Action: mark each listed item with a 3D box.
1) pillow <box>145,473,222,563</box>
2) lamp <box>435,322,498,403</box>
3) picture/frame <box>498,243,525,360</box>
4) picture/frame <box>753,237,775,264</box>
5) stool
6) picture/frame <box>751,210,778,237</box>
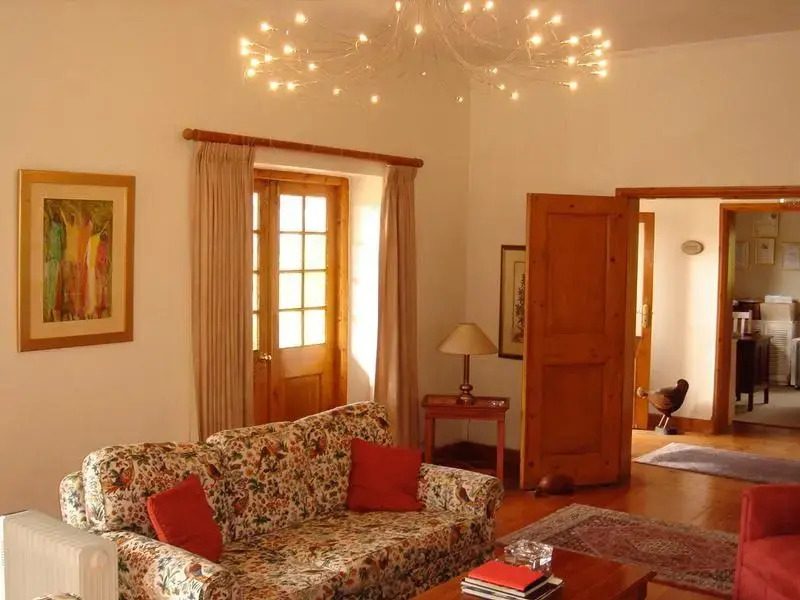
[{"bbox_3d":[-1.040,1.029,3.167,0.183,0.377,0.412,-13,-4,20],"label":"pillow"},{"bbox_3d":[0.571,0.529,6.178,0.487,0.685,0.794,-2,3,-4],"label":"lamp"},{"bbox_3d":[1.106,0.002,6.684,0.287,1.146,0.072,0,3,27],"label":"picture/frame"},{"bbox_3d":[6.329,-0.893,11.606,0.437,0.592,0.045,2,4,32],"label":"picture/frame"},{"bbox_3d":[0.572,1.197,6.018,0.752,0.704,0.510,2,3,9],"label":"stool"},{"bbox_3d":[6.251,-1.334,11.442,0.342,0.468,0.060,12,19,30],"label":"picture/frame"}]
